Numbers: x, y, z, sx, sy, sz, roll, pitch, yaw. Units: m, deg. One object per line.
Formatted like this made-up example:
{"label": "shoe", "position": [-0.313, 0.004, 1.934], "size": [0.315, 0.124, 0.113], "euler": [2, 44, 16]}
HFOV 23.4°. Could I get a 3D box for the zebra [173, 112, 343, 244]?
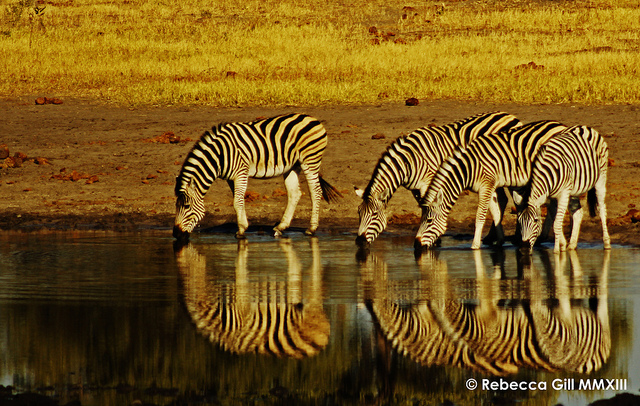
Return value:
{"label": "zebra", "position": [-1.968, -0.799, 45.906], "size": [4.896, 3.962, 1.292], "euler": [1, -3, -28]}
